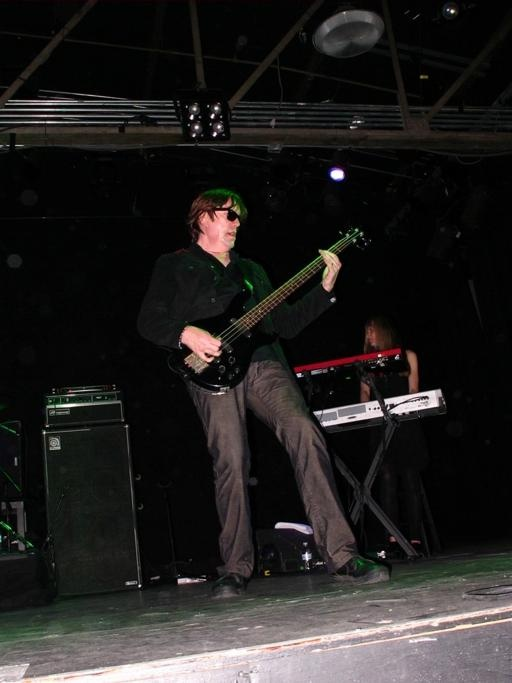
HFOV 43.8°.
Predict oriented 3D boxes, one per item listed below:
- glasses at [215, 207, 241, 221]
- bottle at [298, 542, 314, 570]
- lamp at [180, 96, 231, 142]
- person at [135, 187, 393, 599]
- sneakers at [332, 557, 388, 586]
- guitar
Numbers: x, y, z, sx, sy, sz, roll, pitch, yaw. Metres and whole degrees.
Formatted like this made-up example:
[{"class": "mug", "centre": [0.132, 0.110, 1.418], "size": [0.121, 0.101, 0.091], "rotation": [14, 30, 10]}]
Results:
[{"class": "glasses", "centre": [-0.111, -0.553, 2.743], "size": [0.076, 0.025, 0.073], "rotation": [-5, 28, -42]}, {"class": "bottle", "centre": [0.274, 1.138, 3.399], "size": [0.080, 0.119, 0.032], "rotation": [2, -5, 2]}, {"class": "lamp", "centre": [-0.326, -1.393, 3.991], "size": [0.322, 0.279, 0.193], "rotation": [-9, -1, -3]}, {"class": "person", "centre": [-0.025, 0.124, 2.559], "size": [0.822, 1.629, 0.791], "rotation": [-10, -1, 7]}, {"class": "sneakers", "centre": [0.354, 0.765, 2.139], "size": [0.178, 0.063, 0.072], "rotation": [-23, -25, 34]}, {"class": "guitar", "centre": [0.086, -0.155, 2.753], "size": [1.030, 0.334, 0.103], "rotation": [-40, -2, -33]}]
